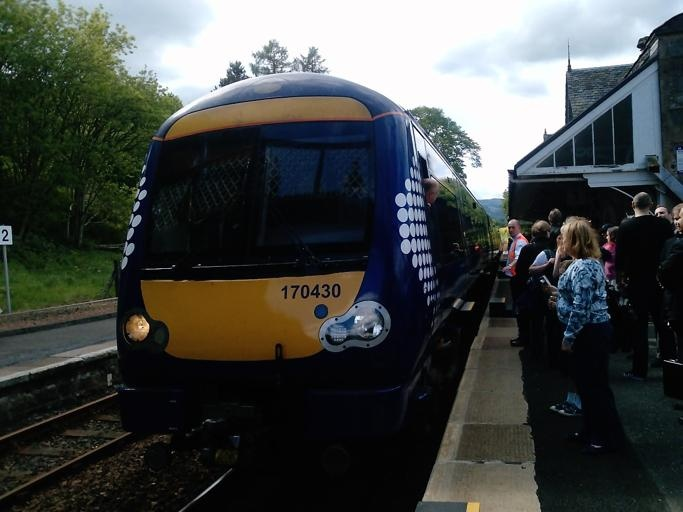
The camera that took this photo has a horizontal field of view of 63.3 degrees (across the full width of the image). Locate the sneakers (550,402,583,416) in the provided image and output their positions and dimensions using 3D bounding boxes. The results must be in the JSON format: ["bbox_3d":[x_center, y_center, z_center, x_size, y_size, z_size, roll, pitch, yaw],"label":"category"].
[{"bbox_3d":[2.568,1.730,6.271,0.225,0.095,0.184,-3,3,12],"label":"sneakers"}]
